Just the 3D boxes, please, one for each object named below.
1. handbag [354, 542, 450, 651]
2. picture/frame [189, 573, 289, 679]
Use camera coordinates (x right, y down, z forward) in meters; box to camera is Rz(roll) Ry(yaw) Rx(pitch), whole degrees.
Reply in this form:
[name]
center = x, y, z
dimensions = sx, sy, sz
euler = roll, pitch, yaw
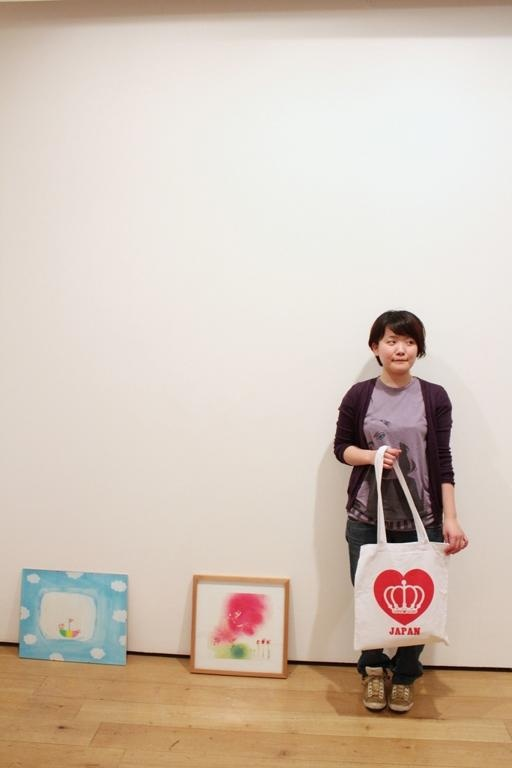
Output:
[handbag]
center = 0.476, 0.686, 2.122
dimensions = 0.380, 0.422, 0.086
euler = 0, -8, 0
[picture/frame]
center = -0.057, 0.946, 2.510
dimensions = 0.375, 0.371, 0.015
euler = 0, -9, 5
